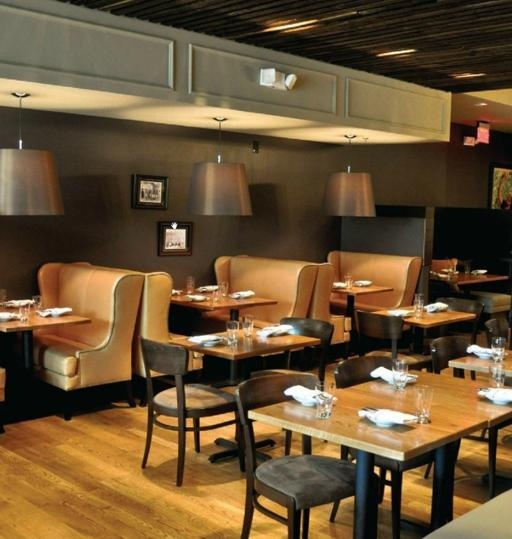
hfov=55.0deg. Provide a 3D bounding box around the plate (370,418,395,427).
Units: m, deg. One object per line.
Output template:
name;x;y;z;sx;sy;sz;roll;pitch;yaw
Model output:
plate;0.456;0.543;1.772;0.083;0.031;0.061;0;2;16

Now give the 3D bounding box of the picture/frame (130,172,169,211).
picture/frame;-1.196;-0.882;5.587;0.502;0.385;0.040;10;12;29

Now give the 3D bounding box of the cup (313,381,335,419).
cup;0.263;0.514;1.921;0.104;0.091;0.066;4;-5;-39

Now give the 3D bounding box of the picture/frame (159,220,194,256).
picture/frame;-0.965;-0.369;5.870;0.040;0.388;0.504;7;8;38

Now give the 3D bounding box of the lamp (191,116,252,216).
lamp;-0.373;-0.826;5.064;0.622;0.521;0.258;-1;2;-3
